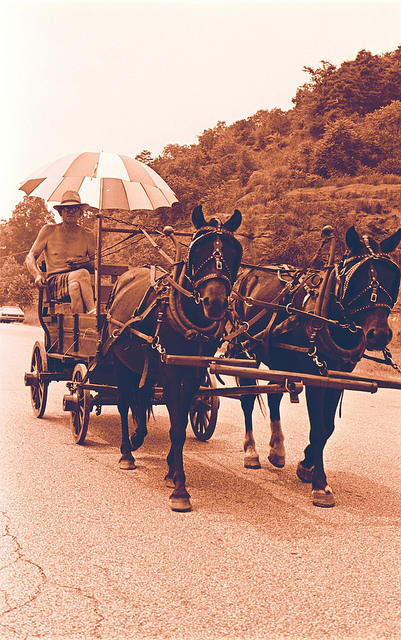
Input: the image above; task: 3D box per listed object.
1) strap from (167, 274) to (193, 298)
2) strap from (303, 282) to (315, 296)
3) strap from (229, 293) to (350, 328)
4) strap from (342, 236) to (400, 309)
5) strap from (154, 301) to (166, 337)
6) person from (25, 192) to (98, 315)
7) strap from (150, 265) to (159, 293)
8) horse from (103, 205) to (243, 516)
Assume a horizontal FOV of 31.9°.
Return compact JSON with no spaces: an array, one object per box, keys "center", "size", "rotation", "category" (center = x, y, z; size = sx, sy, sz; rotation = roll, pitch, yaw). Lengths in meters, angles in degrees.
[{"center":[-0.147,-0.226,4.778],"size":[0.196,0.045,0.143],"rotation":[29,2,0],"category":"strap"},{"center":[0.826,-0.235,5.250],"size":[0.027,0.030,0.130],"rotation":[-37,20,-4],"category":"strap"},{"center":[0.717,-0.077,5.388],"size":[1.196,0.138,0.132],"rotation":[10,50,51],"category":"strap"},{"center":[1.155,-0.310,4.944],"size":[0.409,0.497,0.261],"rotation":[15,25,-7],"category":"strap"},{"center":[-0.281,-0.022,5.000],"size":[0.058,0.207,0.142],"rotation":[14,-6,-14],"category":"strap"},{"center":[-1.583,-0.786,7.967],"size":[0.799,1.359,1.220],"rotation":[0,5,-10],"category":"person"},{"center":[-0.373,-0.349,5.506],"size":[0.048,0.183,0.118],"rotation":[-1,-12,14],"category":"strap"},{"center":[-0.336,0.327,5.689],"size":[0.754,1.952,2.839],"rotation":[3,-3,-18],"category":"horse"}]
